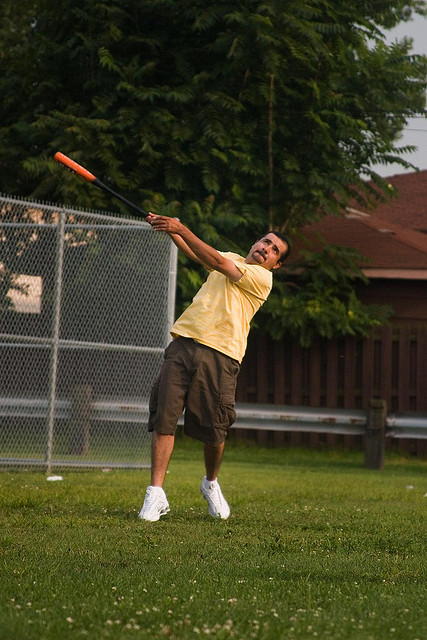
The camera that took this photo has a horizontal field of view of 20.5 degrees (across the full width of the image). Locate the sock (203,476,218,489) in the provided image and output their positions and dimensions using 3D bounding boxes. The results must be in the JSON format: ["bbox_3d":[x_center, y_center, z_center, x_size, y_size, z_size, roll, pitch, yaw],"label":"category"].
[{"bbox_3d":[-0.036,1.030,7.578,0.084,0.064,0.115,3,1,-5],"label":"sock"}]
